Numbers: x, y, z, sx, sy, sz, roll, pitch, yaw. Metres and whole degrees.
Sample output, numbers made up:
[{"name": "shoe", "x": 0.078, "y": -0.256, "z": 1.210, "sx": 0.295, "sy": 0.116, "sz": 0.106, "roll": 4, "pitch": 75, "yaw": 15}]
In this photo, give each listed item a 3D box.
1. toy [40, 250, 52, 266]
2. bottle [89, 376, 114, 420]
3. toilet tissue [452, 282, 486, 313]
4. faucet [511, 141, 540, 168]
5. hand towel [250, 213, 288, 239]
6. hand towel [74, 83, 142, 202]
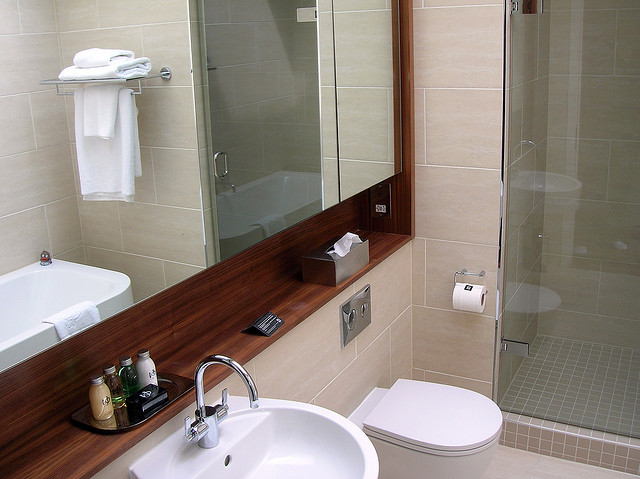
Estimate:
[{"name": "toy", "x": -0.685, "y": 0.047, "z": 1.159, "sx": 0.029, "sy": 0.031, "sz": 0.029, "roll": 5, "pitch": 14, "yaw": 21}, {"name": "bottle", "x": -0.609, "y": 0.442, "z": 1.291, "sx": 0.055, "sy": 0.132, "sz": 0.046, "roll": -13, "pitch": 24, "yaw": -33}, {"name": "toilet tissue", "x": 0.833, "y": 0.318, "z": 2.610, "sx": 0.195, "sy": 0.177, "sz": 0.147, "roll": 3, "pitch": 10, "yaw": 26}, {"name": "faucet", "x": 1.088, "y": -0.454, "z": 2.455, "sx": 0.161, "sy": 0.131, "sz": 0.039, "roll": -5, "pitch": 20, "yaw": -16}, {"name": "hand towel", "x": -0.192, "y": -0.055, "z": 1.840, "sx": 0.017, "sy": 0.090, "sz": 0.196, "roll": 13, "pitch": 23, "yaw": 31}, {"name": "hand towel", "x": -0.539, "y": -0.254, "z": 1.216, "sx": 0.093, "sy": 0.268, "sz": 0.189, "roll": 14, "pitch": 25, "yaw": 22}]
